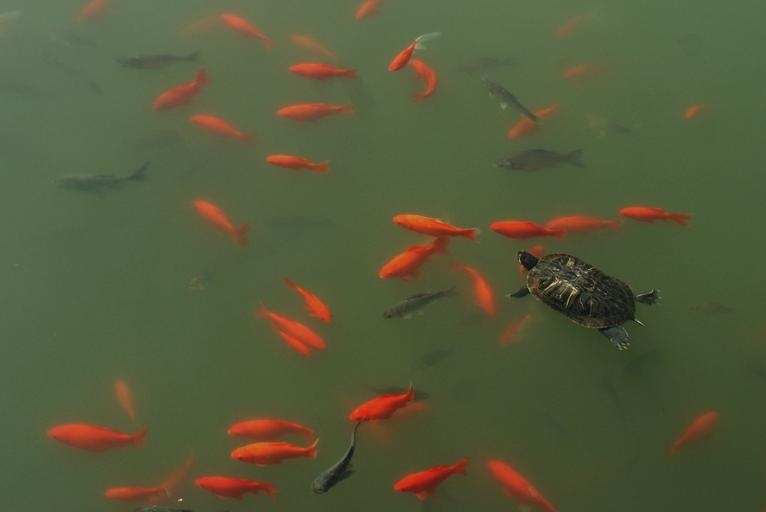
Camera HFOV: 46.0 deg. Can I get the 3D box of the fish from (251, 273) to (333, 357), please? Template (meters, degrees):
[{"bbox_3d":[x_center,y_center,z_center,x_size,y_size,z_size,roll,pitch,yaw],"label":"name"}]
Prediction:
[{"bbox_3d":[-0.889,0.642,9.414,0.772,0.348,0.565,40,81,14],"label":"fish"}]

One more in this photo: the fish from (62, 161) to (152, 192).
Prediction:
[{"bbox_3d":[-2.960,-0.811,9.618,0.942,0.170,0.219,-14,73,1],"label":"fish"}]
